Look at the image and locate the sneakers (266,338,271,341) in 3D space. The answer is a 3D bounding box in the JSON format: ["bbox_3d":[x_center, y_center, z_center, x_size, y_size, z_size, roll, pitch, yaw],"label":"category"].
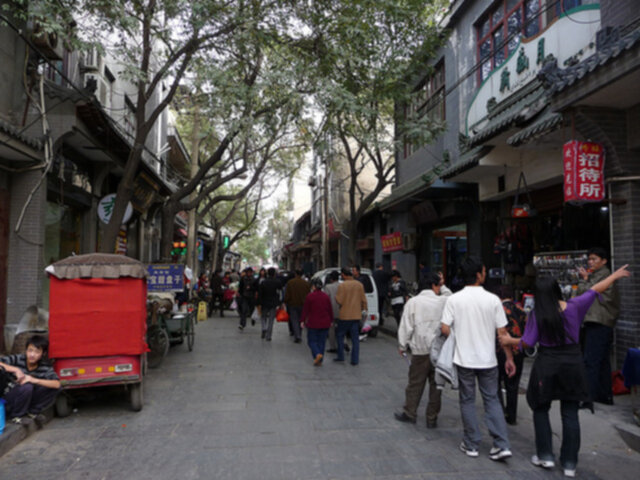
[{"bbox_3d":[-1.443,2.776,13.953,0.104,0.117,0.061,0,-12,1],"label":"sneakers"}]

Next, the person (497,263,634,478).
[{"bbox_3d":[2.885,1.622,6.138,0.878,2.356,0.476,1,2,22],"label":"person"}]

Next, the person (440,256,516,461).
[{"bbox_3d":[2.165,1.529,6.712,1.020,2.643,0.730,3,9,38],"label":"person"}]

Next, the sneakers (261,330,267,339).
[{"bbox_3d":[-1.585,2.669,13.999,0.097,0.114,0.296,9,-47,-4],"label":"sneakers"}]

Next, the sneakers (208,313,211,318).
[{"bbox_3d":[-4.641,3.149,20.843,0.121,0.257,0.132,-1,-15,-8],"label":"sneakers"}]

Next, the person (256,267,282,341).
[{"bbox_3d":[-1.421,1.796,13.790,0.637,2.109,1.060,0,2,-7],"label":"person"}]

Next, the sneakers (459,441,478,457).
[{"bbox_3d":[1.939,2.702,6.454,0.093,0.118,0.269,2,0,-8],"label":"sneakers"}]

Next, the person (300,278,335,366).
[{"bbox_3d":[-0.067,1.814,10.916,0.626,1.785,0.697,0,2,-14],"label":"person"}]

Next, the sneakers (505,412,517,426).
[{"bbox_3d":[2.830,2.645,7.338,0.086,0.177,0.242,0,-13,0],"label":"sneakers"}]

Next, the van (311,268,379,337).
[{"bbox_3d":[0.966,1.736,14.801,1.334,1.480,2.324,0,2,-9],"label":"van"}]

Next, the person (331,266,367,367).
[{"bbox_3d":[0.652,1.661,10.886,0.714,2.042,0.679,0,2,3],"label":"person"}]

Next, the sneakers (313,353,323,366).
[{"bbox_3d":[-0.035,2.559,10.713,0.175,0.238,0.258,0,1,-4],"label":"sneakers"}]

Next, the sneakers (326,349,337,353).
[{"bbox_3d":[0.290,2.745,12.378,0.258,0.125,0.092,1,-4,21],"label":"sneakers"}]

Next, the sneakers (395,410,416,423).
[{"bbox_3d":[1.284,2.630,7.440,0.270,0.132,0.129,12,-9,20],"label":"sneakers"}]

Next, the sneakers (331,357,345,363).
[{"bbox_3d":[0.405,2.632,10.972,0.247,0.121,0.101,7,-4,31],"label":"sneakers"}]

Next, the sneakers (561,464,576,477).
[{"bbox_3d":[2.981,2.739,5.906,0.072,0.081,0.186,-3,-18,6],"label":"sneakers"}]

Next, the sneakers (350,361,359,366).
[{"bbox_3d":[0.760,2.632,10.650,0.165,0.103,0.244,0,1,2],"label":"sneakers"}]

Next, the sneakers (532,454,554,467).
[{"bbox_3d":[2.744,2.700,6.089,0.107,0.125,0.264,0,4,-19],"label":"sneakers"}]

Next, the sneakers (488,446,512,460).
[{"bbox_3d":[2.261,2.667,6.253,0.116,0.170,0.317,3,-11,-15],"label":"sneakers"}]

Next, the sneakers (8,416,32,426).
[{"bbox_3d":[-4.162,2.479,6.871,0.255,0.119,0.108,1,-2,-2],"label":"sneakers"}]

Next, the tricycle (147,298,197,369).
[{"bbox_3d":[-3.384,1.972,10.995,0.773,1.523,2.549,0,1,-7],"label":"tricycle"}]
